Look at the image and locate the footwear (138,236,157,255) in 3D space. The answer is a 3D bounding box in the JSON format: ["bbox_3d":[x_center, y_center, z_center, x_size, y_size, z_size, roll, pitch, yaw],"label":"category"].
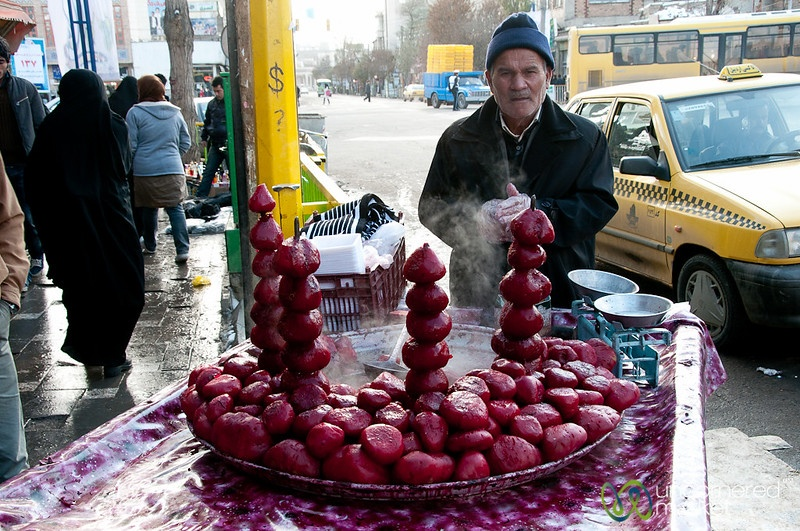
[{"bbox_3d":[-3.376,-0.279,8.565,0.140,0.181,0.422,-7,20,-25],"label":"footwear"}]

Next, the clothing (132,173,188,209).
[{"bbox_3d":[-3.230,-1.015,8.619,0.710,0.534,0.407,-1,3,-8],"label":"clothing"}]

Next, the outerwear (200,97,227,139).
[{"bbox_3d":[-3.321,-2.633,11.472,0.375,0.768,0.834,-8,16,-20],"label":"outerwear"}]

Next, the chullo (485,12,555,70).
[{"bbox_3d":[0.683,-1.284,3.636,0.382,0.321,0.253,-1,15,8],"label":"chullo"}]

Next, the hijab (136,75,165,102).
[{"bbox_3d":[-3.279,-2.341,8.495,0.330,0.366,0.374,4,51,-17],"label":"hijab"}]

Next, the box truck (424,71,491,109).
[{"bbox_3d":[3.755,-11.336,40.912,2.258,2.137,4.889,-9,18,-30],"label":"box truck"}]

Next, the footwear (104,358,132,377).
[{"bbox_3d":[-2.517,0.920,5.728,0.096,0.118,0.272,4,13,11],"label":"footwear"}]

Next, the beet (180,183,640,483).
[{"bbox_3d":[0.066,0.275,2.864,1.583,0.902,1.696,-1,6,-5],"label":"beet"}]

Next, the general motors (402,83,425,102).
[{"bbox_3d":[1.283,-15.570,57.344,1.202,0.865,2.874,-3,19,-4],"label":"general motors"}]
